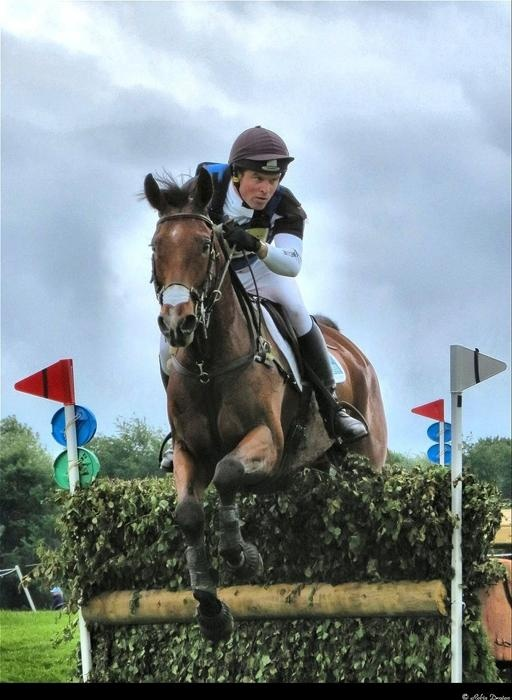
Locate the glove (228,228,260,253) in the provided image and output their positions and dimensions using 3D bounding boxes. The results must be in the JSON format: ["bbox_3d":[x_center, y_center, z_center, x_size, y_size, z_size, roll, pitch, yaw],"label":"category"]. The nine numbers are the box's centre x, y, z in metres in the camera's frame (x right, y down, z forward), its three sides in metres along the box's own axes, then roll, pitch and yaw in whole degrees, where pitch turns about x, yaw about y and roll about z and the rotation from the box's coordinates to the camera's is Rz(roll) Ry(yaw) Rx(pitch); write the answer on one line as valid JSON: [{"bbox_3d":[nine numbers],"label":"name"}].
[{"bbox_3d":[-0.063,-0.504,4.562,0.124,0.044,0.095,37,22,28],"label":"glove"}]

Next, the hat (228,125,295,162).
[{"bbox_3d":[0.019,-1.079,5.215,0.331,0.229,0.198,-1,-6,-1],"label":"hat"}]
